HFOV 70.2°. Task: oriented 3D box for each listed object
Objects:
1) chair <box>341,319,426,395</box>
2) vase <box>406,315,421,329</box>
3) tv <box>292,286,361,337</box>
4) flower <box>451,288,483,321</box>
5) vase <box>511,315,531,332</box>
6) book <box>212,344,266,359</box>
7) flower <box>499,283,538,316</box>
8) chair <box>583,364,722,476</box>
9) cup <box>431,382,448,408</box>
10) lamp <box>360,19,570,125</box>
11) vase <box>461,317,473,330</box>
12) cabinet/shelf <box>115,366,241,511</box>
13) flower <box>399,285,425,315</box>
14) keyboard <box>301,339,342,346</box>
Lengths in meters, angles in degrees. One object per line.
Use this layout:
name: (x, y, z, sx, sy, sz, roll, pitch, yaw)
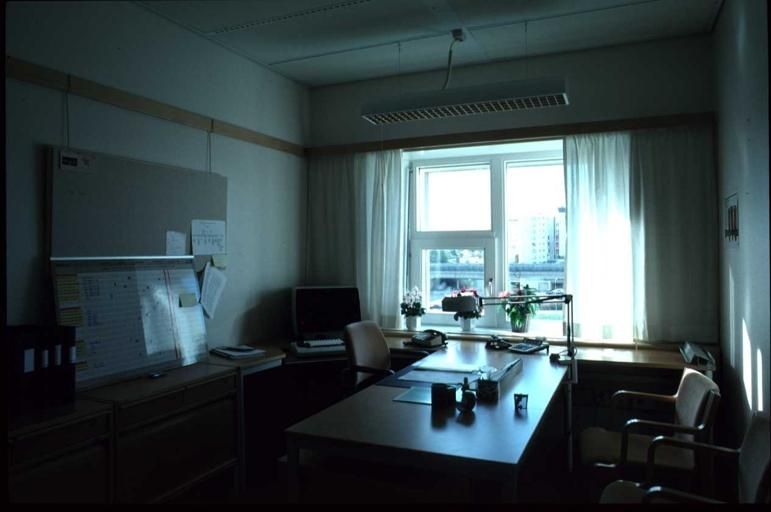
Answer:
chair: (-0.056, 0.762, 4.389, 0.506, 0.811, 0.573, -4, -3, 33)
vase: (0.264, 0.634, 5.230, 0.131, 0.129, 0.137, 0, -2, 8)
tv: (-0.598, 0.503, 5.163, 0.648, 0.526, 0.341, -1, 10, -22)
flower: (0.746, 0.425, 4.923, 0.231, 0.310, 0.332, 2, -2, -36)
vase: (1.242, 0.612, 5.035, 0.157, 0.120, 0.151, 1, -2, 23)
book: (-1.195, 0.769, 4.347, 0.456, 0.053, 0.233, 0, 2, 33)
flower: (1.200, 0.414, 4.909, 0.348, 0.344, 0.353, 0, 1, 13)
chair: (1.653, 1.067, 3.541, 0.750, 0.594, 0.559, 2, 5, 13)
cup: (0.319, 0.836, 3.259, 0.113, 0.124, 0.114, 0, -2, 0)
lamp: (0.608, -1.465, 4.180, 1.476, 0.630, 0.262, 5, 36, 35)
vase: (0.749, 0.626, 5.054, 0.118, 0.142, 0.102, 0, -10, 5)
cabinet/shelf: (-1.403, 1.207, 3.611, 0.400, 0.866, 1.056, -2, 0, 24)
flower: (0.253, 0.449, 5.211, 0.226, 0.265, 0.244, -1, 1, -2)
keyboard: (-0.533, 0.746, 4.669, 0.335, 0.020, 0.174, -2, 2, -11)
